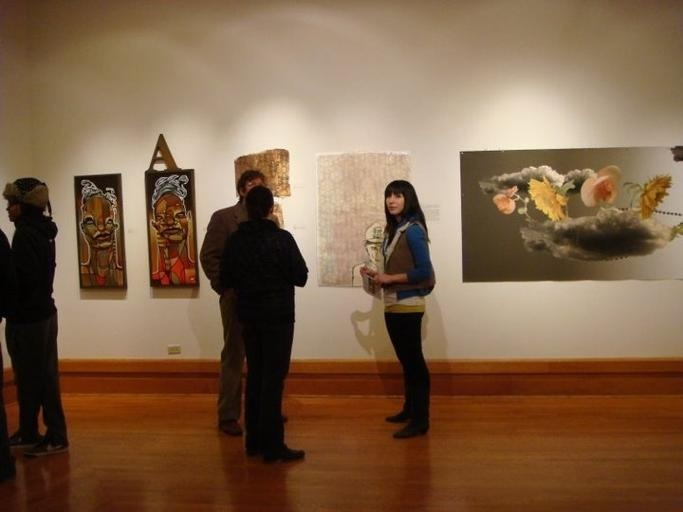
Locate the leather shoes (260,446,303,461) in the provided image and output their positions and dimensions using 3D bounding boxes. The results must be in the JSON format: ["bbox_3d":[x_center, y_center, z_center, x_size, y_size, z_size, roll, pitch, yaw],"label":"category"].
[{"bbox_3d":[-0.472,1.524,4.644,0.341,0.165,0.125,0,2,-14],"label":"leather shoes"}]

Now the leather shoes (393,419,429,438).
[{"bbox_3d":[0.592,1.451,4.994,0.305,0.227,0.123,2,0,-4],"label":"leather shoes"}]

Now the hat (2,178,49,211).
[{"bbox_3d":[-2.476,-0.512,4.694,0.293,0.238,0.239,14,12,9],"label":"hat"}]

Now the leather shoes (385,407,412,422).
[{"bbox_3d":[0.512,1.416,5.265,0.265,0.187,0.094,3,-2,4],"label":"leather shoes"}]

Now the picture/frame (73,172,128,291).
[{"bbox_3d":[-2.440,-0.236,5.979,0.487,1.146,0.340,-3,13,-7],"label":"picture/frame"}]

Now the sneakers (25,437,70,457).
[{"bbox_3d":[-2.376,1.566,4.798,0.323,0.135,0.117,5,-6,-17],"label":"sneakers"}]

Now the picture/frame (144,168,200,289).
[{"bbox_3d":[-1.688,-0.264,5.882,0.494,1.141,0.322,-3,13,-6],"label":"picture/frame"}]

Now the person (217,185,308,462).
[{"bbox_3d":[-0.567,0.543,4.572,0.619,2.108,0.529,-4,14,-12],"label":"person"}]

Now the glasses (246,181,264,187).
[{"bbox_3d":[-0.719,-0.596,4.879,0.074,0.058,0.098,-2,0,9],"label":"glasses"}]
